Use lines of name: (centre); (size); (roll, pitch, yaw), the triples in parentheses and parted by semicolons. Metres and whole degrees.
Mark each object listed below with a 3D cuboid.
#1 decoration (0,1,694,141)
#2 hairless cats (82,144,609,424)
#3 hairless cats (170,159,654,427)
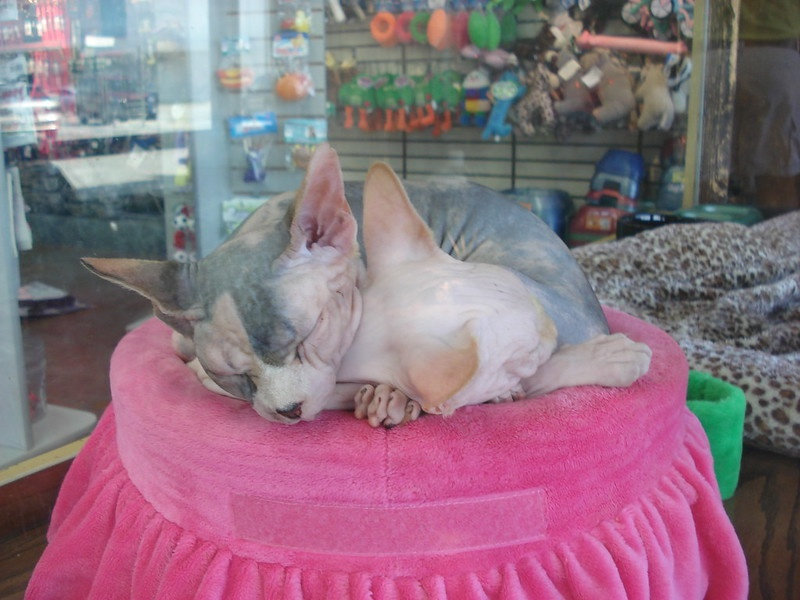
decoration: (-0.109, -0.777, 2.753); (2.172, 0.507, 0.727); (-8, 20, -17)
hairless cats: (-0.079, -0.179, 1.492); (0.557, 0.350, 0.772); (-1, 22, 30)
hairless cats: (0.045, -0.159, 1.455); (0.527, 0.294, 0.704); (5, 30, 12)
